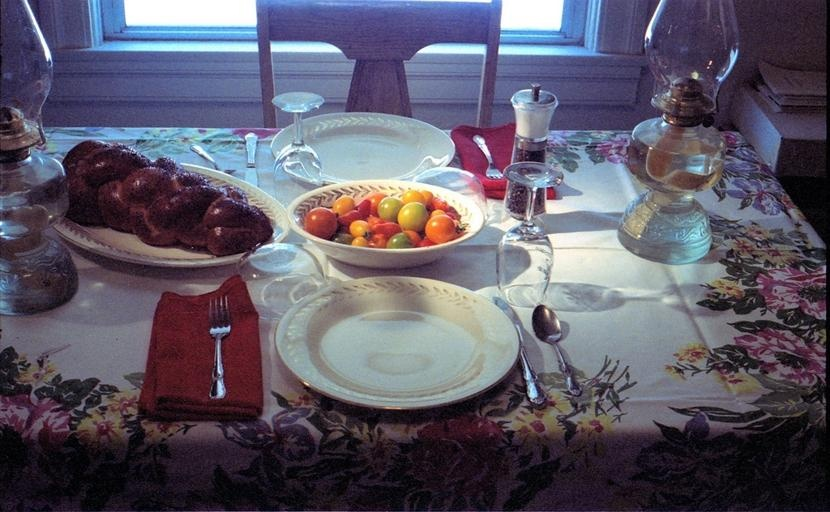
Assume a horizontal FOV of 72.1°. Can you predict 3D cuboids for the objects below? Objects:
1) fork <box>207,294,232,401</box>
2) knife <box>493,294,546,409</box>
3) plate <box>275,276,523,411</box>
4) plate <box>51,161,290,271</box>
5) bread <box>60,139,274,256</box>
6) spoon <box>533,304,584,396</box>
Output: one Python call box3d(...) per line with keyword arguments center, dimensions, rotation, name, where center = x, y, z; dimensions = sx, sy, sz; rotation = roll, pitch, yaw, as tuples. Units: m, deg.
box3d(center=(-0.325, 0.142, 0.944), dimensions=(0.038, 0.033, 0.220), rotation=(1, 49, -11), name="fork")
box3d(center=(0.159, 0.155, 0.969), dimensions=(0.040, 0.027, 0.242), rotation=(7, 33, -15), name="knife")
box3d(center=(-0.033, 0.141, 0.944), dimensions=(0.404, 0.047, 0.368), rotation=(2, 26, -6), name="plate")
box3d(center=(-0.465, -0.070, 1.105), dimensions=(0.380, 0.045, 0.246), rotation=(-4, 43, -11), name="plate")
box3d(center=(-0.534, -0.145, 1.221), dimensions=(0.502, 0.133, 0.202), rotation=(19, 48, 20), name="bread")
box3d(center=(0.232, 0.155, 0.981), dimensions=(0.044, 0.022, 0.162), rotation=(3, 35, -17), name="spoon")
